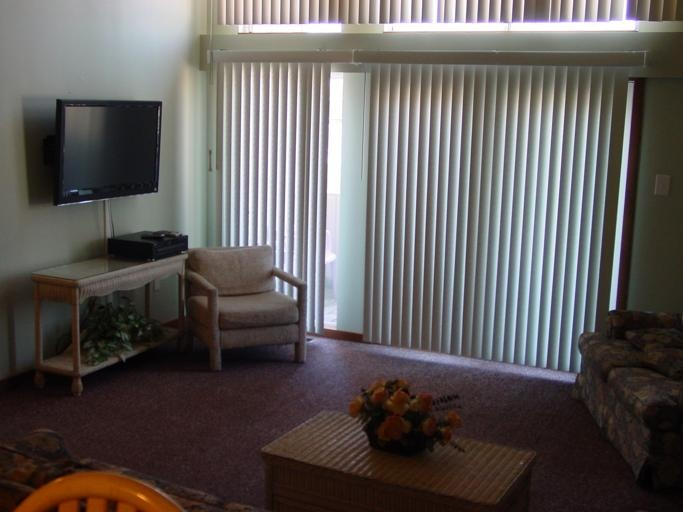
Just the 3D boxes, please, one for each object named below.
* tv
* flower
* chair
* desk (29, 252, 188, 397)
[{"bbox_3d":[-1.820,-0.806,4.415,0.070,0.627,0.927,11,12,23],"label":"tv"},{"bbox_3d":[0.290,0.747,2.668,0.397,0.219,0.397,2,3,17],"label":"flower"},{"bbox_3d":[-0.859,0.407,4.969,0.984,0.841,1.056,-6,12,-42],"label":"chair"},{"bbox_3d":[-1.804,0.486,4.629,0.508,0.817,1.298,5,8,21],"label":"desk"}]
